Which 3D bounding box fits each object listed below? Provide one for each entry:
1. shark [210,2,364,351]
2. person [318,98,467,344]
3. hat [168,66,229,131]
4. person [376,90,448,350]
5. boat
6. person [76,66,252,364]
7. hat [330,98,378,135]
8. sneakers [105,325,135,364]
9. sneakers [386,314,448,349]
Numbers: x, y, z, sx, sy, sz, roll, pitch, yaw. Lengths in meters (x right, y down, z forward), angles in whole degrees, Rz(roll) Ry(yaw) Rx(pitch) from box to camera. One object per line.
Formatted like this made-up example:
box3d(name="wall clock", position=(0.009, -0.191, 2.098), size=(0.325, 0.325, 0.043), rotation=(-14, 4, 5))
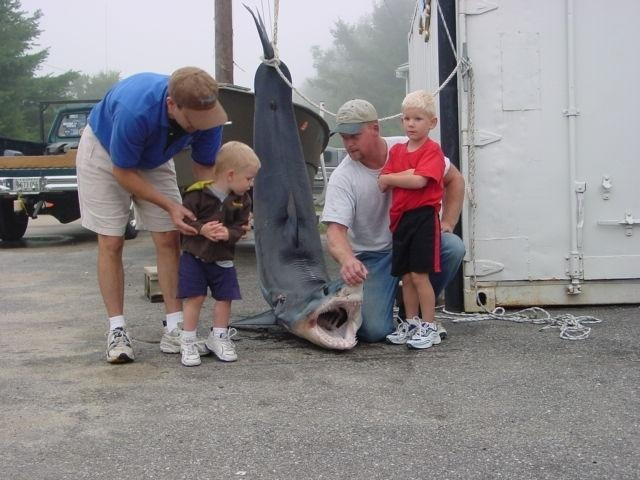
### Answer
box3d(name="shark", position=(-0.231, -0.328, 3.903), size=(0.820, 1.986, 0.494), rotation=(-6, -12, -20))
box3d(name="person", position=(0.389, -0.107, 3.865), size=(1.021, 1.427, 0.779), rotation=(-17, 21, -30))
box3d(name="hat", position=(-0.611, -0.684, 3.133), size=(0.260, 0.300, 0.161), rotation=(-1, 10, -1))
box3d(name="person", position=(0.492, -0.138, 3.704), size=(0.458, 1.362, 0.501), rotation=(9, 16, 25))
box3d(name="boat", position=(-0.479, -0.963, 7.054), size=(2.000, 1.270, 1.517), rotation=(14, 14, 41))
box3d(name="person", position=(-0.876, -0.171, 3.545), size=(1.081, 1.600, 0.699), rotation=(18, 19, 27))
box3d(name="hat", position=(0.203, -0.709, 3.689), size=(0.251, 0.199, 0.225), rotation=(0, 10, 2))
box3d(name="sneakers", position=(-1.063, 0.554, 3.365), size=(0.137, 0.169, 0.175), rotation=(-4, 10, -19))
box3d(name="sneakers", position=(0.544, 0.537, 3.629), size=(0.257, 0.175, 0.464), rotation=(0, 7, -7))
